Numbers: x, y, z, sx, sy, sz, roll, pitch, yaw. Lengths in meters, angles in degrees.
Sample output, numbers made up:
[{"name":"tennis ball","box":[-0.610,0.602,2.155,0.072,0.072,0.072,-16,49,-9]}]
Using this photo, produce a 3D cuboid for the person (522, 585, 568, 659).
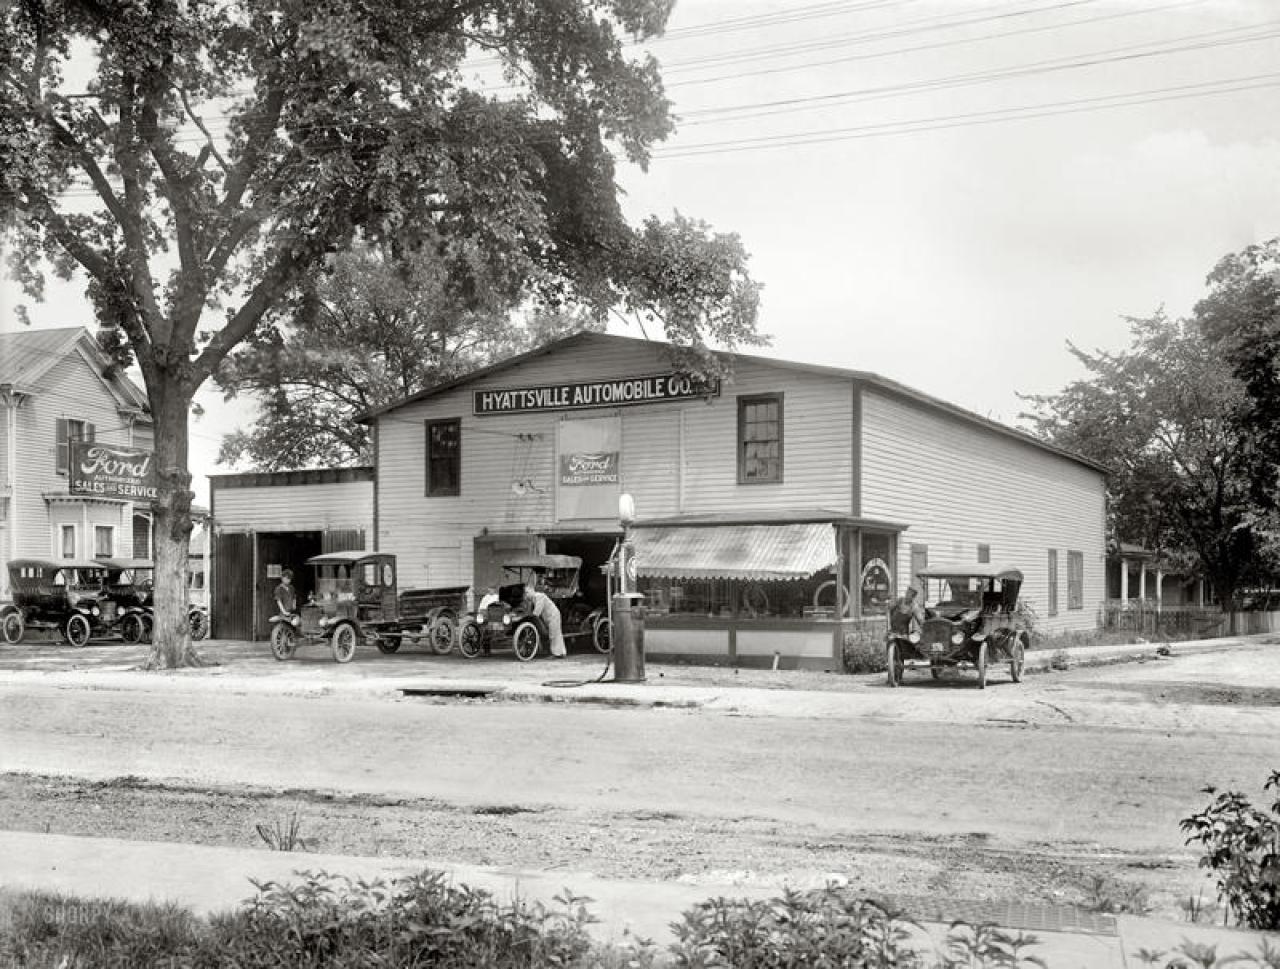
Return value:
[{"name":"person","box":[-2.192,3.123,32.983,0.979,1.619,0.922,3,-6,-21]}]

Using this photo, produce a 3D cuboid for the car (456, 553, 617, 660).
[{"name":"car","box":[-2.380,3.049,34.232,1.693,2.512,4.449,-4,-11,27]}]

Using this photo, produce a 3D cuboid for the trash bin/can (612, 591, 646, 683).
[{"name":"trash bin/can","box":[-0.219,2.798,26.674,0.593,1.640,0.564,1,-5,-1]}]

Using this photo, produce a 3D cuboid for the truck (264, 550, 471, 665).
[{"name":"truck","box":[-6.455,2.941,34.727,4.406,2.640,2.788,4,-7,-21]}]

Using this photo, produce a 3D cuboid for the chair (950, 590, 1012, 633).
[{"name":"chair","box":[6.421,2.391,27.205,0.699,0.916,2.254,-1,-8,19]}]

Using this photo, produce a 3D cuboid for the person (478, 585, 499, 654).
[{"name":"person","box":[-3.372,3.050,32.634,0.570,1.293,0.372,1,-5,-4]}]

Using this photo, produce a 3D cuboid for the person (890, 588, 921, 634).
[{"name":"person","box":[4.872,2.325,26.705,0.562,0.866,0.451,0,-6,11]}]

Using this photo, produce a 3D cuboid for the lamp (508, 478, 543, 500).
[{"name":"lamp","box":[-2.846,0.123,36.360,0.970,0.541,0.138,-5,-7,35]}]
